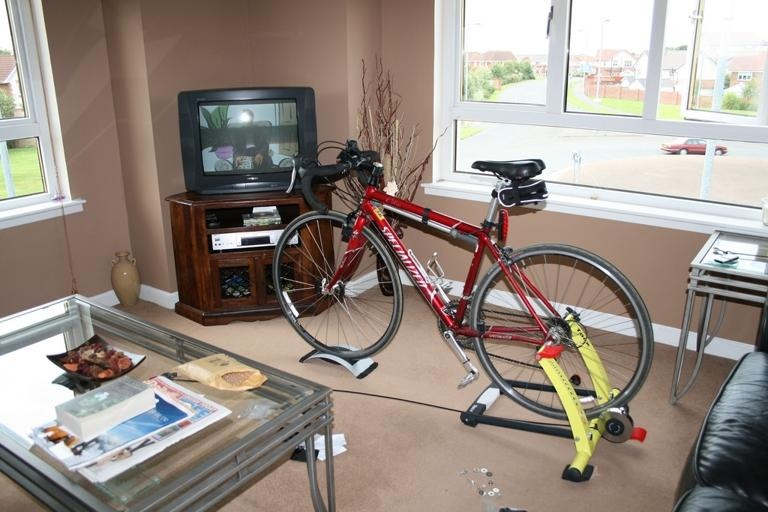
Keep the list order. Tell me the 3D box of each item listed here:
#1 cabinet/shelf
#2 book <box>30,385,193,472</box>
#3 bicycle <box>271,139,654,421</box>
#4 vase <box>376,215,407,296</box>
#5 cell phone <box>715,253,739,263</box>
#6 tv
[{"bbox_3d":[-0.930,-0.003,3.751,0.966,0.765,0.387,-5,12,-20],"label":"cabinet/shelf"},{"bbox_3d":[-1.032,0.680,2.049,0.369,0.039,0.350,19,28,37],"label":"book"},{"bbox_3d":[0.523,0.160,3.352,2.598,1.380,0.702,20,31,29],"label":"bicycle"},{"bbox_3d":[0.056,0.044,4.121,0.130,0.520,0.288,3,-2,-1],"label":"vase"},{"bbox_3d":[1.796,0.018,2.760,0.135,0.020,0.075,-3,19,-3],"label":"cell phone"},{"bbox_3d":[-0.921,-0.811,4.001,1.315,0.956,0.706,-2,19,-7],"label":"tv"}]
